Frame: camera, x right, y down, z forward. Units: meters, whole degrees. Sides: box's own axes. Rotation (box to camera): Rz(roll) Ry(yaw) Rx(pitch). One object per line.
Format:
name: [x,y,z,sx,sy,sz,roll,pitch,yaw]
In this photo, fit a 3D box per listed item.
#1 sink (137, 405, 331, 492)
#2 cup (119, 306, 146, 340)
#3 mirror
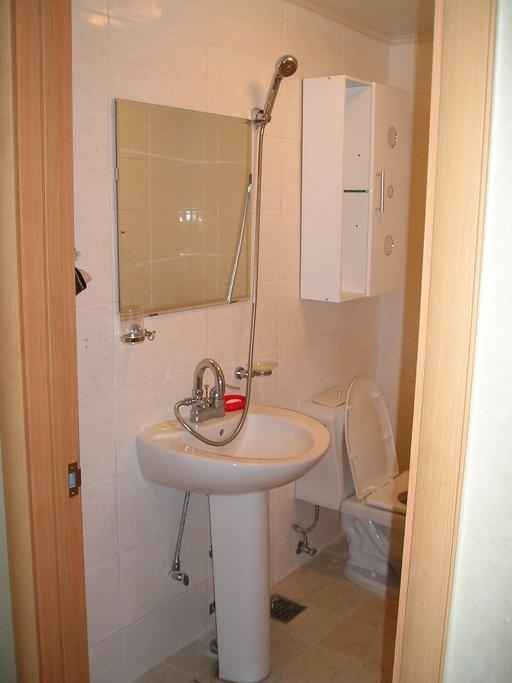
sink: [-0.031,0.351,1.793,0.507,0.168,0.540,7,9,32]
cup: [-0.351,-0.048,1.609,0.070,0.101,0.039,-1,8,-16]
mirror: [-0.238,-0.423,1.748,0.030,0.749,0.619,14,19,36]
